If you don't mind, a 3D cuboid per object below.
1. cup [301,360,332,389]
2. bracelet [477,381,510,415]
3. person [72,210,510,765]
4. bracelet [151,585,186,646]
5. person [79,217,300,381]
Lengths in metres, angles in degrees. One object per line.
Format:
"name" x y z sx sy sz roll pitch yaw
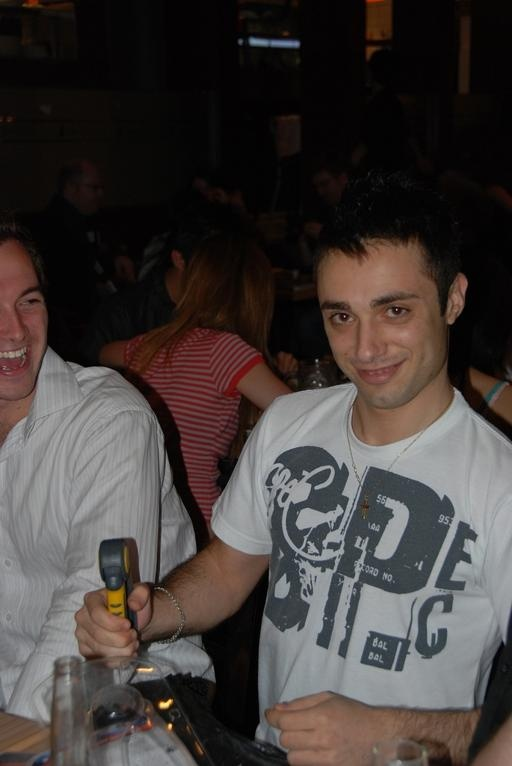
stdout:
"cup" 0.245 -0.044 2.777 0.141 0.135 0.139 1 6 0
"bracelet" 0.718 0.043 1.975 0.018 0.078 0.078 42 27 19
"person" 0.010 0.175 1.459 0.814 1.197 0.842 -1 7 -25
"bracelet" -0.165 0.448 1.265 0.027 0.101 0.078 -5 -21 -47
"person" -0.674 -0.399 3.609 0.372 1.091 0.319 21 46 -31
